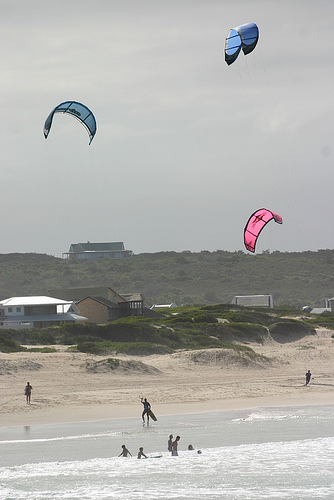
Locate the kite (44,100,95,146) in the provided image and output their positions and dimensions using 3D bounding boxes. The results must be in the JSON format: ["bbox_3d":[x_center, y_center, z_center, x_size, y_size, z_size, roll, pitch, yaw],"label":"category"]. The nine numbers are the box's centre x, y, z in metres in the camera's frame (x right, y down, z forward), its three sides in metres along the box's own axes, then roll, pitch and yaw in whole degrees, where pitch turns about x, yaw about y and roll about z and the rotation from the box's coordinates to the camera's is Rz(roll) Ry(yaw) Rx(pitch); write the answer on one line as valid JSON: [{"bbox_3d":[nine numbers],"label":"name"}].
[{"bbox_3d":[-4.088,-5.240,51.338,1.963,1.474,2.058,-7,-7,0],"label":"kite"}]

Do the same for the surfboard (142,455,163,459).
[{"bbox_3d":[-0.493,6.488,38.692,0.651,0.104,0.121,-1,28,18],"label":"surfboard"}]

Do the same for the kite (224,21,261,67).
[{"bbox_3d":[2.833,-8.547,50.682,1.982,0.988,1.307,-39,17,-26],"label":"kite"}]

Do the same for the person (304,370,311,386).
[{"bbox_3d":[6.639,6.101,58.621,0.387,0.426,0.988,6,-46,0],"label":"person"}]

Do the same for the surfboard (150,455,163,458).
[{"bbox_3d":[-0.374,6.490,38.718,0.372,0.069,0.251,-10,-8,18],"label":"surfboard"}]
